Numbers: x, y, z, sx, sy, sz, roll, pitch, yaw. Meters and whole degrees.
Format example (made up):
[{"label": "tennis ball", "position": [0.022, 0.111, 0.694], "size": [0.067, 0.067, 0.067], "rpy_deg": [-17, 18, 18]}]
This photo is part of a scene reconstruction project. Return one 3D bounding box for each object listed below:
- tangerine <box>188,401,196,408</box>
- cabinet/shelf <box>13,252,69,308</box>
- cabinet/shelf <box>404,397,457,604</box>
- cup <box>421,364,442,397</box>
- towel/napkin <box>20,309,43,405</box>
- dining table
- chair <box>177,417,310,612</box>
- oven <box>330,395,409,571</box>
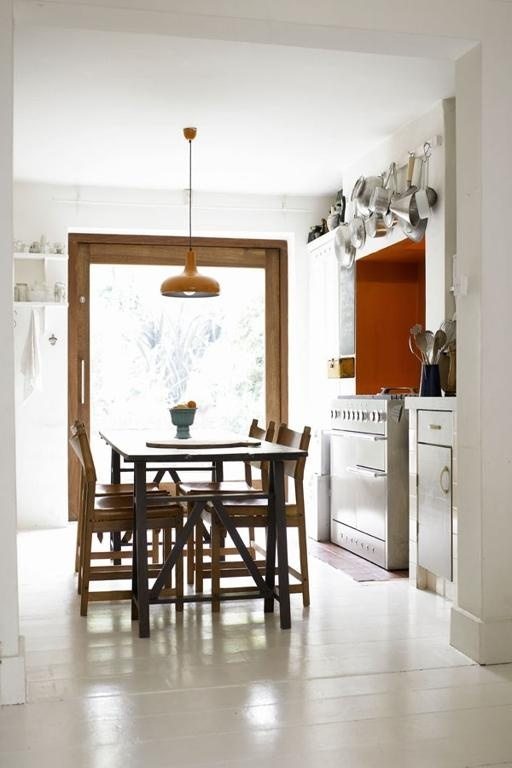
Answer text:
[{"label": "tangerine", "position": [-0.327, 0.102, 3.391], "size": [0.029, 0.047, 0.033], "rpy_deg": [-11, -8, 11]}, {"label": "cabinet/shelf", "position": [-1.658, -0.775, 5.182], "size": [0.397, 0.435, 0.522], "rpy_deg": [2, -5, -22]}, {"label": "cabinet/shelf", "position": [0.828, 0.531, 3.166], "size": [0.111, 0.939, 0.518], "rpy_deg": [0, -4, -5]}, {"label": "cup", "position": [0.852, -0.011, 3.274], "size": [0.107, 0.209, 0.130], "rpy_deg": [-2, 0, -3]}, {"label": "towel/napkin", "position": [-1.692, -0.214, 5.043], "size": [0.141, 0.685, 0.242], "rpy_deg": [1, -4, -20]}, {"label": "dining table", "position": [-0.226, 0.621, 2.992], "size": [0.735, 0.733, 1.021], "rpy_deg": [1, -5, -12]}, {"label": "chair", "position": [-0.058, 0.642, 3.330], "size": [0.580, 1.320, 0.818], "rpy_deg": [1, -3, -11]}, {"label": "oven", "position": [0.723, 0.547, 4.170], "size": [0.401, 1.013, 0.836], "rpy_deg": [-2, -2, -18]}]
